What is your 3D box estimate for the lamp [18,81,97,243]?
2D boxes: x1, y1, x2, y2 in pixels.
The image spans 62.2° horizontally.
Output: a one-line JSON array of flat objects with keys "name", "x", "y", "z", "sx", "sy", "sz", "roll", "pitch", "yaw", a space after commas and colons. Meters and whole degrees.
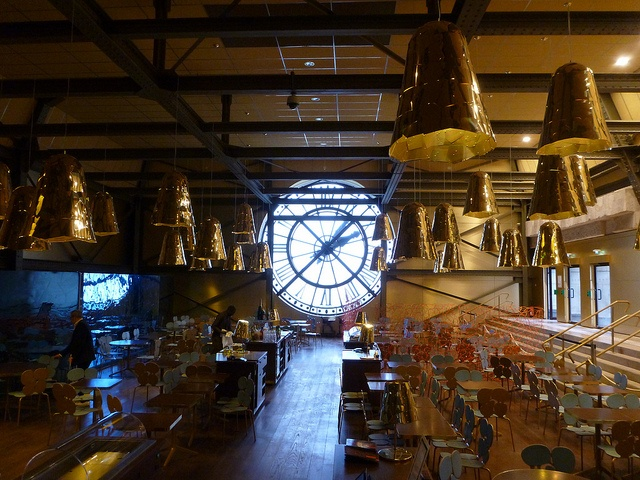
[{"name": "lamp", "x": -2.437, "y": -0.419, "z": 5.020, "sx": 0.801, "sy": 0.974, "sz": 0.776, "roll": 8, "pitch": -7, "yaw": -31}]

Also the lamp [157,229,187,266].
[{"name": "lamp", "x": -2.191, "y": 0.082, "z": 7.930, "sx": 0.352, "sy": 0.596, "sz": 0.729, "roll": 2, "pitch": -8, "yaw": -14}]

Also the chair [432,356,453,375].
[{"name": "chair", "x": 2.818, "y": 2.825, "z": 12.202, "sx": 0.519, "sy": 0.476, "sz": 0.370, "roll": 0, "pitch": -13, "yaw": 4}]

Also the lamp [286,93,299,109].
[{"name": "lamp", "x": -0.486, "y": -2.619, "z": 9.797, "sx": 0.276, "sy": 0.288, "sz": 0.270, "roll": 0, "pitch": -9, "yaw": -9}]

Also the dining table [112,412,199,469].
[{"name": "dining table", "x": -2.601, "y": 3.191, "z": 8.295, "sx": 1.069, "sy": 0.981, "sz": 1.067, "roll": 1, "pitch": -2, "yaw": 6}]

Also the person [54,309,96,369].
[{"name": "person", "x": -5.308, "y": 2.169, "z": 11.648, "sx": 0.649, "sy": 1.252, "sz": 1.450, "roll": 4, "pitch": -9, "yaw": -24}]

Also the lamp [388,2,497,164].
[{"name": "lamp", "x": 1.047, "y": -1.332, "z": 4.517, "sx": 0.795, "sy": 1.101, "sz": 0.798, "roll": -3, "pitch": -1, "yaw": 11}]

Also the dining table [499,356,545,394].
[{"name": "dining table", "x": 4.937, "y": 3.171, "z": 12.874, "sx": 0.969, "sy": 0.916, "sz": 0.963, "roll": 0, "pitch": 8, "yaw": 5}]

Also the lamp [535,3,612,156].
[{"name": "lamp", "x": 2.414, "y": -1.263, "z": 4.985, "sx": 0.601, "sy": 0.805, "sz": 0.593, "roll": 4, "pitch": -6, "yaw": -24}]

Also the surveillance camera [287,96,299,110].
[{"name": "surveillance camera", "x": -0.493, "y": -2.596, "z": 9.800, "sx": 0.282, "sy": 0.300, "sz": 0.305, "roll": 0, "pitch": -6, "yaw": -4}]

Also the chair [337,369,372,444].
[{"name": "chair", "x": 0.679, "y": 3.179, "z": 10.392, "sx": 0.667, "sy": 1.210, "sz": 2.121, "roll": 0, "pitch": -8, "yaw": 5}]

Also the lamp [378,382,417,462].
[{"name": "lamp", "x": 0.971, "y": 2.267, "z": 6.687, "sx": 0.451, "sy": 1.081, "sz": 1.306, "roll": -1, "pitch": -8, "yaw": 6}]

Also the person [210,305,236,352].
[{"name": "person", "x": -2.235, "y": 2.037, "z": 12.305, "sx": 0.488, "sy": 1.071, "sz": 1.538, "roll": 2, "pitch": -8, "yaw": -11}]

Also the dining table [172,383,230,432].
[{"name": "dining table", "x": -2.180, "y": 3.093, "z": 9.873, "sx": 0.941, "sy": 0.872, "sz": 0.924, "roll": 0, "pitch": 3, "yaw": -8}]

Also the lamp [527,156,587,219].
[{"name": "lamp", "x": 2.365, "y": -0.533, "z": 5.276, "sx": 0.577, "sy": 0.651, "sz": 0.262, "roll": 3, "pitch": -9, "yaw": -16}]

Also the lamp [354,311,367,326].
[{"name": "lamp", "x": 0.994, "y": 1.839, "z": 12.509, "sx": 0.353, "sy": 0.404, "sz": 0.340, "roll": 3, "pitch": -5, "yaw": 6}]

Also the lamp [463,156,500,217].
[{"name": "lamp", "x": 1.860, "y": -0.544, "z": 6.018, "sx": 0.519, "sy": 0.693, "sz": 0.533, "roll": -1, "pitch": -5, "yaw": -3}]

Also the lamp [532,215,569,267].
[{"name": "lamp", "x": 2.910, "y": 0.020, "z": 6.680, "sx": 0.394, "sy": 0.615, "sz": 0.603, "roll": -3, "pitch": -9, "yaw": 22}]

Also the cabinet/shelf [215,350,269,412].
[{"name": "cabinet/shelf", "x": -1.594, "y": 3.236, "z": 11.054, "sx": 0.962, "sy": 1.227, "sz": 1.728, "roll": 0, "pitch": -4, "yaw": 1}]

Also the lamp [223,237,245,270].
[{"name": "lamp", "x": -1.607, "y": 0.262, "z": 9.915, "sx": 0.545, "sy": 0.680, "sz": 0.530, "roll": 3, "pitch": -9, "yaw": -17}]

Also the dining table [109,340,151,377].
[{"name": "dining table", "x": -5.235, "y": 3.232, "z": 14.365, "sx": 1.061, "sy": 0.785, "sz": 1.088, "roll": 3, "pitch": 0, "yaw": 35}]

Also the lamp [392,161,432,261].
[{"name": "lamp", "x": 0.994, "y": -0.109, "z": 5.561, "sx": 0.388, "sy": 0.669, "sz": 0.564, "roll": -2, "pitch": -8, "yaw": 12}]
